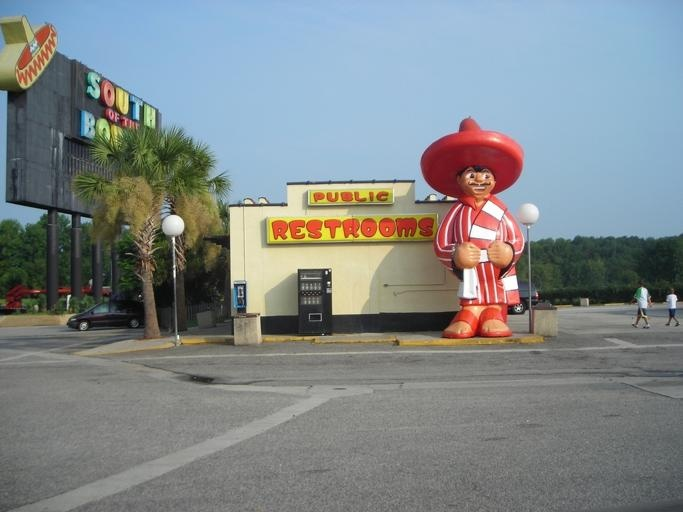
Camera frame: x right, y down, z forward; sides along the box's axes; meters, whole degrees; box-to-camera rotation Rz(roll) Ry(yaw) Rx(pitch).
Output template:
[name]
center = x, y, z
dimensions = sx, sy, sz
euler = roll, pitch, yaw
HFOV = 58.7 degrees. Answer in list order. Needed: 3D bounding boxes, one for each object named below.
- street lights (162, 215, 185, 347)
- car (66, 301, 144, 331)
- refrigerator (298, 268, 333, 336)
[street lights]
center = -6.535, 0.927, 23.576
dimensions = 0.692, 4.939, 0.599
euler = 0, 1, -16
[car]
center = -12.037, 3.101, 30.904
dimensions = 2.965, 1.376, 1.712
euler = 3, -7, -21
[refrigerator]
center = -1.560, 1.556, 20.539
dimensions = 1.421, 3.124, 1.714
euler = 0, -5, -1
